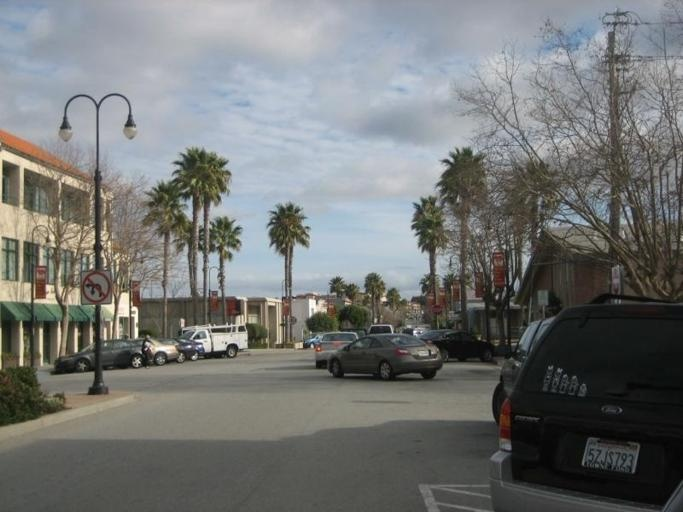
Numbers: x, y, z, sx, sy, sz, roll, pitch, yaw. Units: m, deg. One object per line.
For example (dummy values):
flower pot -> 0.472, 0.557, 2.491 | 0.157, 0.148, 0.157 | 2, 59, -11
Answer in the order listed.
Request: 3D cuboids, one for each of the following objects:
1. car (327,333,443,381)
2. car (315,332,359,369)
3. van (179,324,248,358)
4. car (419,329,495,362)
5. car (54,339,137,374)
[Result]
car -> 1.734, 3.283, 26.188 | 2.670, 1.687, 4.669 | -4, -7, 25
car -> -0.081, 3.516, 29.504 | 1.275, 1.171, 3.098 | 0, -4, 1
van -> -7.411, 5.028, 47.710 | 1.669, 1.706, 3.306 | -8, -11, 42
car -> 5.544, 4.039, 36.052 | 3.230, 1.445, 1.436 | 2, -5, -31
car -> -10.881, 4.554, 36.330 | 3.535, 1.468, 1.435 | 4, -5, -43
